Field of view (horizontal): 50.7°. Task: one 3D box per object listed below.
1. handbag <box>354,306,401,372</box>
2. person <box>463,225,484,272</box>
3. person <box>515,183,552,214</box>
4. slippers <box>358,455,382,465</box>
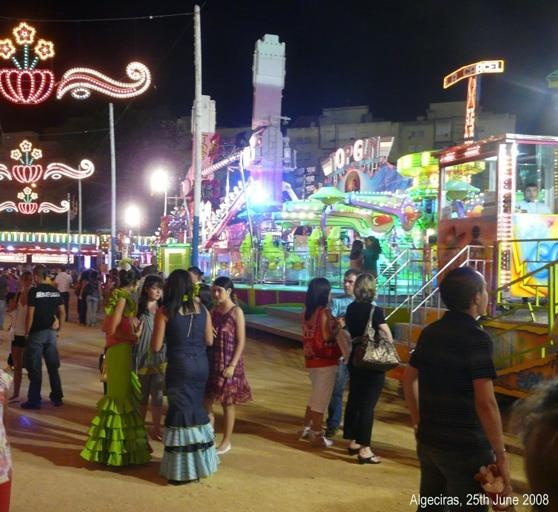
[{"bbox_3d":[1.046,0.898,6.361,0.447,0.789,0.358,6,-30,-8],"label":"handbag"},{"bbox_3d":[3.469,-0.143,10.462,0.310,0.829,0.499,3,-1,18],"label":"person"},{"bbox_3d":[4.770,-1.085,11.033,0.563,0.660,0.805,3,-1,18],"label":"person"},{"bbox_3d":[0.951,2.173,6.263,0.171,0.070,0.102,-7,-1,-1],"label":"slippers"}]
